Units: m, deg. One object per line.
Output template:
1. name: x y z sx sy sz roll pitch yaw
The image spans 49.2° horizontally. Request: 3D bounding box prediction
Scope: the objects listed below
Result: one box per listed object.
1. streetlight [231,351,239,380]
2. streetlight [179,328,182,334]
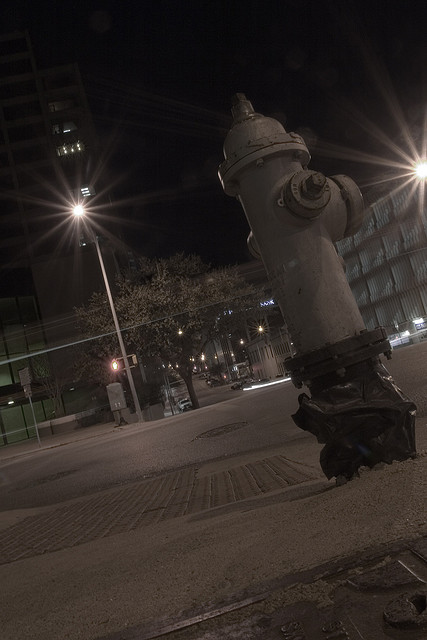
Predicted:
1. streetlight: 3.976 8.586 86.343 0.443 4.417 0.443 -16 -15 0
2. streetlight: -1.816 0.656 25.892 0.130 0.253 0.066 -15 -7 -34
